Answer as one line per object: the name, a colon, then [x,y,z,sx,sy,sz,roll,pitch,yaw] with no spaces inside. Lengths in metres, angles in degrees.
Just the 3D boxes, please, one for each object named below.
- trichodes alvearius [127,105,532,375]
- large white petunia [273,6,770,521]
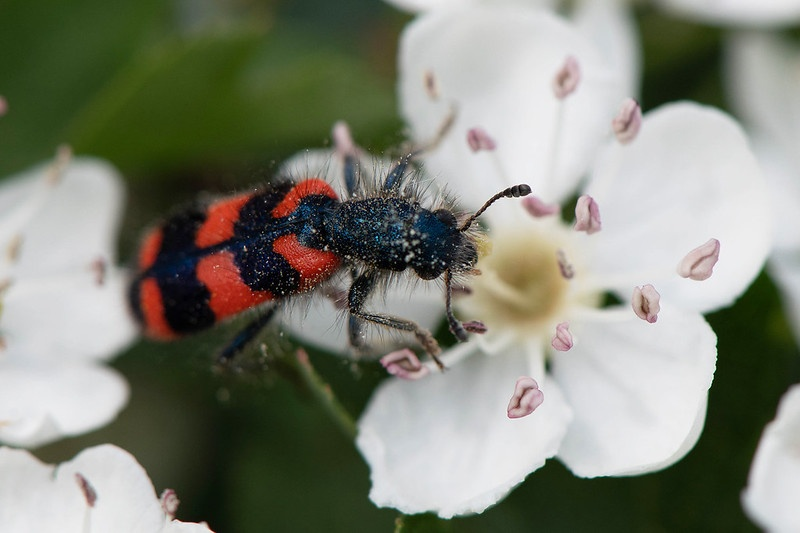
trichodes alvearius: [-0.158,-0.054,1.504,0.704,0.233,0.445,2,78,2]
large white petunia: [0.292,0.012,1.673,0.572,0.634,1.083,-1,88,8]
